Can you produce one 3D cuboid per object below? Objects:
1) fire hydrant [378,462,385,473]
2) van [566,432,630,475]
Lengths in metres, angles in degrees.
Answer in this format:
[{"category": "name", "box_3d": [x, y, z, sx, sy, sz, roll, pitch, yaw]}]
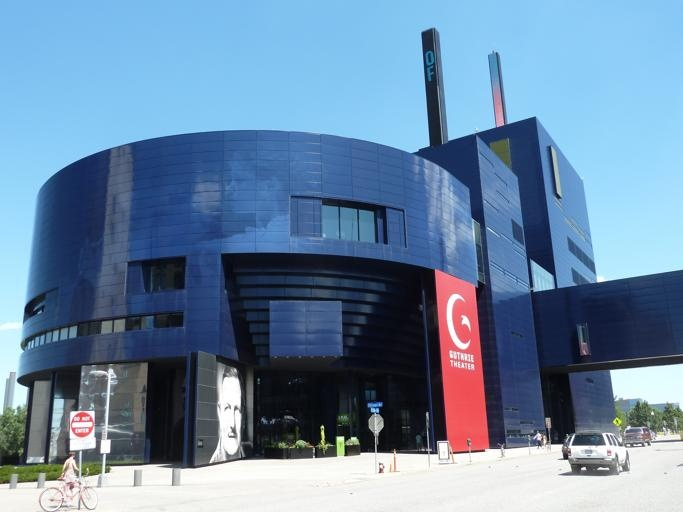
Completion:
[{"category": "fire hydrant", "box_3d": [2.644, 14.348, 35.429, 0.274, 0.630, 0.830, -9, -20, 15]}, {"category": "van", "box_3d": [15.561, 11.760, 31.859, 2.135, 2.088, 4.532, -7, -13, 29]}]
